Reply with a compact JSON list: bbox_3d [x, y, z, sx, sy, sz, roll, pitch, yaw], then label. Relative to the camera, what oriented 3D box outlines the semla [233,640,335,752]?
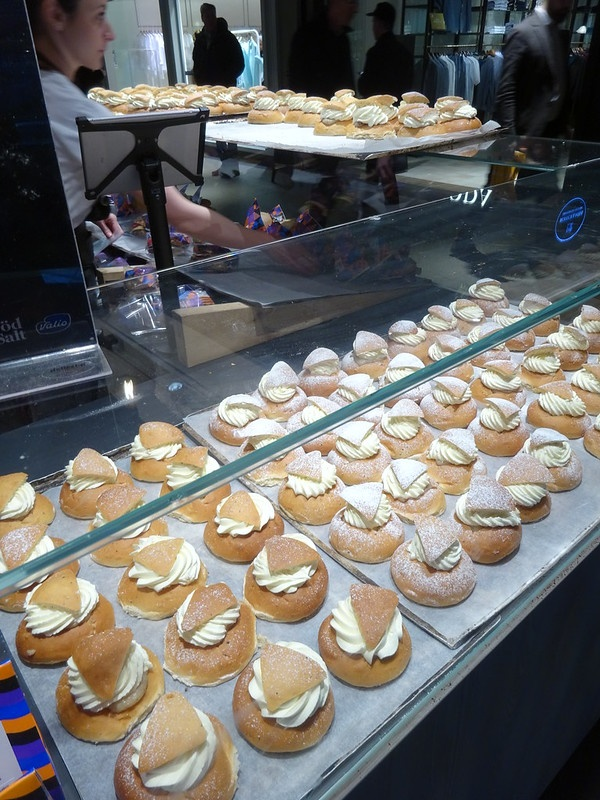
[{"bbox_3d":[-0.024,0.393,0.755,0.141,0.113,0.134,-1,29,2],"label":"semla"}]

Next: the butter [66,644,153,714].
[{"bbox_3d":[-0.255,0.366,0.732,0.086,0.025,0.079,21,31,-15],"label":"butter"}]

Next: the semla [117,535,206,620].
[{"bbox_3d":[-0.225,0.301,0.937,0.143,0.082,0.141,-7,17,31],"label":"semla"}]

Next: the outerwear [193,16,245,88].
[{"bbox_3d":[-0.545,-2.354,3.732,0.372,0.487,0.241,35,48,30],"label":"outerwear"}]

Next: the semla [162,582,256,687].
[{"bbox_3d":[-0.128,0.359,0.834,0.139,0.079,0.136,9,41,7],"label":"semla"}]

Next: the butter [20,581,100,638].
[{"bbox_3d":[-0.376,0.331,0.836,0.080,0.023,0.082,3,4,23],"label":"butter"}]

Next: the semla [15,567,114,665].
[{"bbox_3d":[-0.349,0.341,0.845,0.137,0.082,0.137,7,37,7],"label":"semla"}]

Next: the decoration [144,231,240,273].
[{"bbox_3d":[-0.379,-0.536,1.975,0.357,0.102,0.336,-6,34,-15],"label":"decoration"}]
